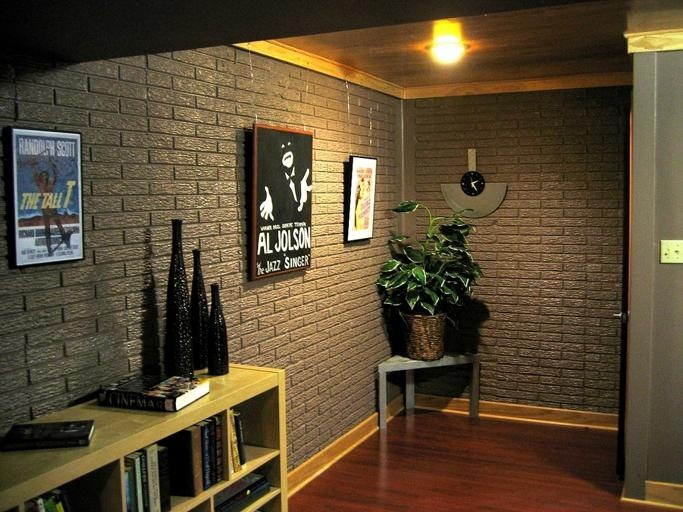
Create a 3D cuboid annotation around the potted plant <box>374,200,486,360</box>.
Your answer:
[{"bbox_3d":[0.815,0.246,4.807,0.952,1.500,0.820,0,7,5],"label":"potted plant"}]

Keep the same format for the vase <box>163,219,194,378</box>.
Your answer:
[{"bbox_3d":[-0.787,0.200,2.443,0.112,0.742,0.153,-4,8,-18],"label":"vase"}]

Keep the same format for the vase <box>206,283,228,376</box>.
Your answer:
[{"bbox_3d":[-0.648,0.369,2.647,0.101,0.464,0.160,-3,7,-14],"label":"vase"}]

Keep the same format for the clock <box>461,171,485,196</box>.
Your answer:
[{"bbox_3d":[1.289,-0.708,4.986,0.309,0.210,0.064,11,10,23],"label":"clock"}]
